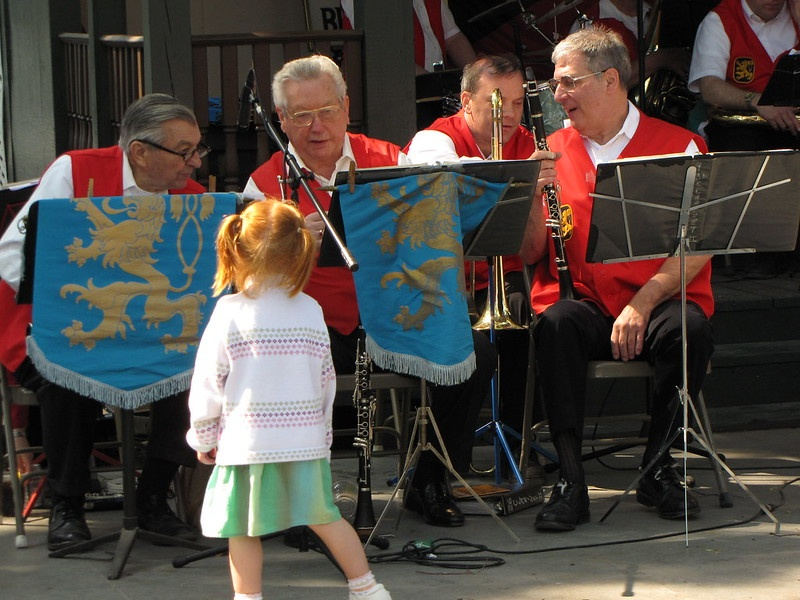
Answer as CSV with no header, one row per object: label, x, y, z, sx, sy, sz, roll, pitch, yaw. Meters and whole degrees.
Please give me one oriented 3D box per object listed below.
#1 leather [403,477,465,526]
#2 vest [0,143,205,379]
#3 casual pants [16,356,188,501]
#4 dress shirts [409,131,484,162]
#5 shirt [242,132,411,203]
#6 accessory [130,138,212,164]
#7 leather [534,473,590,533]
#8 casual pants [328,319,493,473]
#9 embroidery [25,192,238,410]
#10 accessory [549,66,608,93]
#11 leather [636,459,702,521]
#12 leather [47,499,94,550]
leather,0.156,0.926,4.793,0.144,0.117,0.336,-3,6,-42
vest,-1.514,-0.207,4.709,1.196,0.919,0.266,-3,0,-19
casual pants,-1.194,0.631,4.716,0.973,0.653,0.599,2,-22,-6
dress shirts,0.237,-0.790,5.344,0.326,0.151,0.386,9,10,22
shirt,-0.304,-0.682,5.046,0.838,0.279,0.417,-8,-2,-21
accessory,-1.040,-0.687,4.710,0.173,0.041,0.160,19,9,18
leather,0.715,0.904,4.606,0.163,0.202,0.248,4,11,34
casual pants,0.026,0.465,4.925,1.176,0.577,0.692,2,-1,-10
embroidery,-1.046,-0.017,4.106,1.141,0.851,0.076,1,11,-9
accessory,0.850,-1.079,5.063,0.166,0.040,0.143,-10,2,-18
leather,1.210,0.874,4.731,0.170,0.196,0.392,0,6,-29
leather,-1.430,0.974,4.480,0.175,0.196,0.249,-6,10,-19
